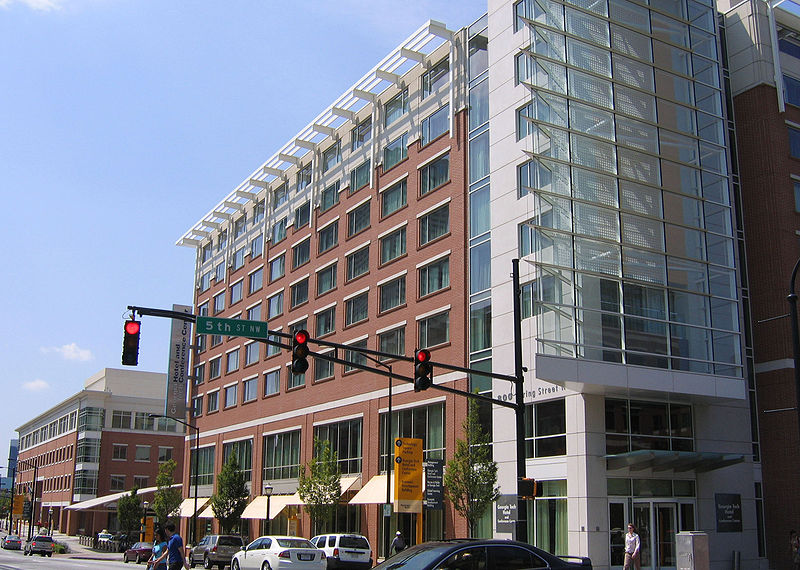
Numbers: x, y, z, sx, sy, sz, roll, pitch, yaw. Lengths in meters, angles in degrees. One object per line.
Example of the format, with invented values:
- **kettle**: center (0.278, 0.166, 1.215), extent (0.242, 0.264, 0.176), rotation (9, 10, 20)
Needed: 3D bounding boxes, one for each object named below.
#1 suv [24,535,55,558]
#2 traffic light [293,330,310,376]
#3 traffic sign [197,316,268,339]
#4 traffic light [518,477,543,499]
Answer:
- **suv**: center (-31.227, 22.412, 75.477), extent (1.928, 1.684, 3.784), rotation (6, -10, -28)
- **traffic light**: center (-3.481, 2.267, 30.396), extent (0.602, 1.601, 0.983), rotation (1, -22, -6)
- **traffic sign**: center (-7.120, 1.764, 37.502), extent (2.206, 0.532, 0.314), rotation (5, -22, -10)
- **traffic light**: center (4.652, 7.439, 31.962), extent (0.599, 0.693, 1.025), rotation (-12, -25, 24)
